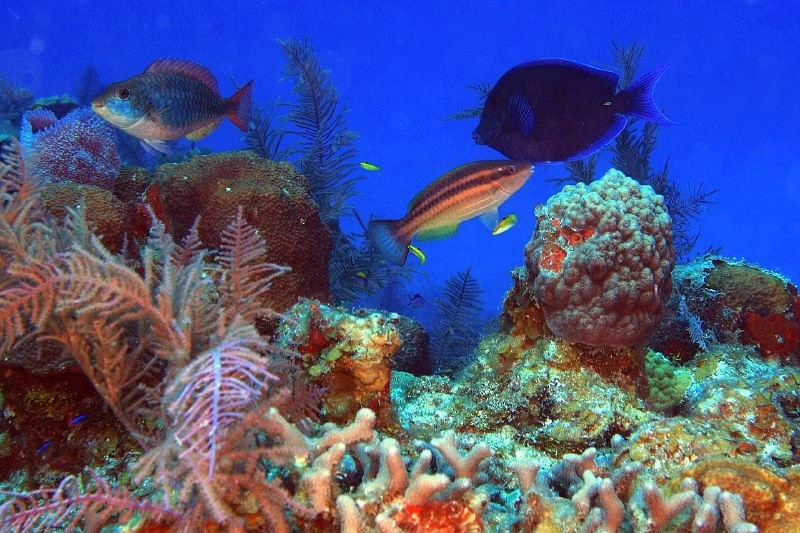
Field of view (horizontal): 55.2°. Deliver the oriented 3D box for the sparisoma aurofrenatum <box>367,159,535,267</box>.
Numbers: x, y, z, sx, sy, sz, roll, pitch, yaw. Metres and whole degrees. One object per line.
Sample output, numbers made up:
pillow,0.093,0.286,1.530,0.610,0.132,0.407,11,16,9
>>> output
sparisoma aurofrenatum,0.591,-0.668,8.245,1.859,0.825,0.476,-25,22,-6
